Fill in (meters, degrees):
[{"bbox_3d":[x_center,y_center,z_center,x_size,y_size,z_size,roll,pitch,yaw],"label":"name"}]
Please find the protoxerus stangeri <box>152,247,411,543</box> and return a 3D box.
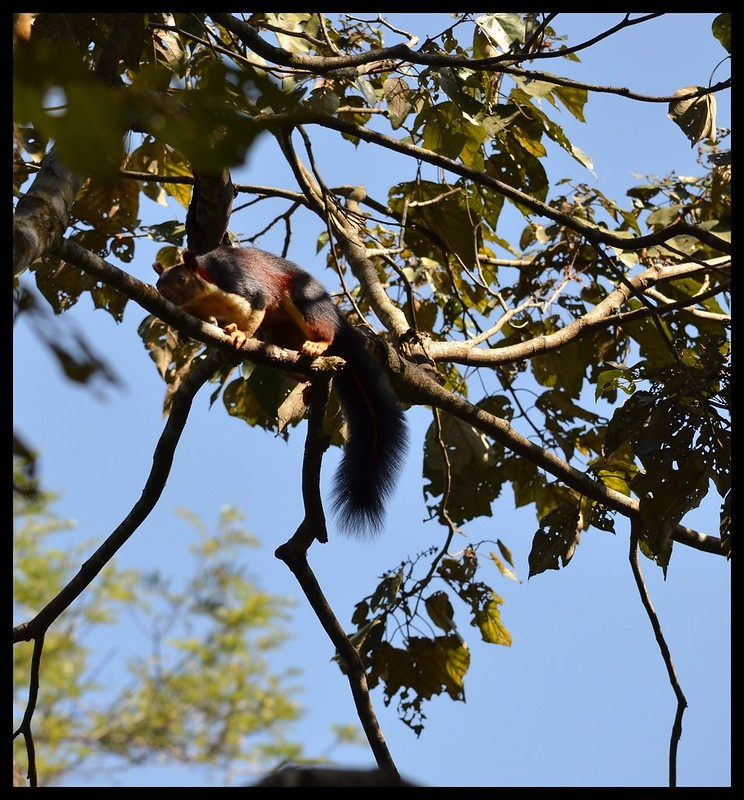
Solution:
[{"bbox_3d":[-0.239,-0.100,4.568,0.934,0.586,0.254,38,-48,0],"label":"protoxerus stangeri"}]
